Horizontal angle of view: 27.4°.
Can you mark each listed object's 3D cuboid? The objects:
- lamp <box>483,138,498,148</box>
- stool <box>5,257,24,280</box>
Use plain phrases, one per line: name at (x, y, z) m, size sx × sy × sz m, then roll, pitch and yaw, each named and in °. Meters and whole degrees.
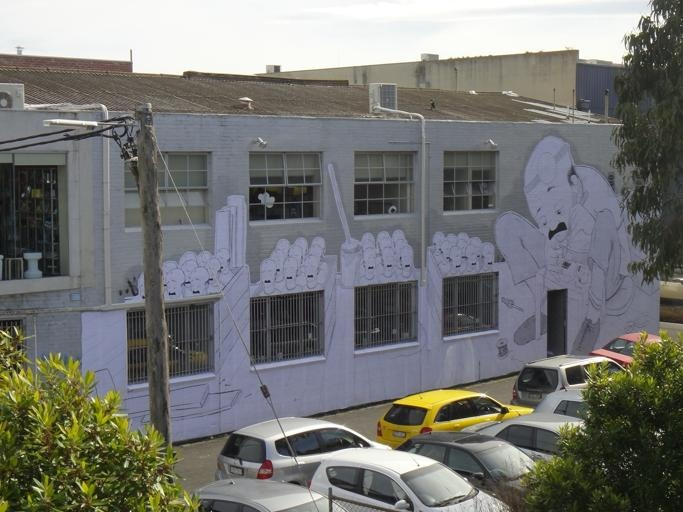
lamp at (4.567, -3.396, 42.190) m, size 0.157 × 0.332 × 0.573 m, roll 1°, pitch 5°, yaw 44°
stool at (-8.132, 0.338, 34.656) m, size 0.448 × 0.650 × 0.451 m, roll 1°, pitch 0°, yaw -39°
